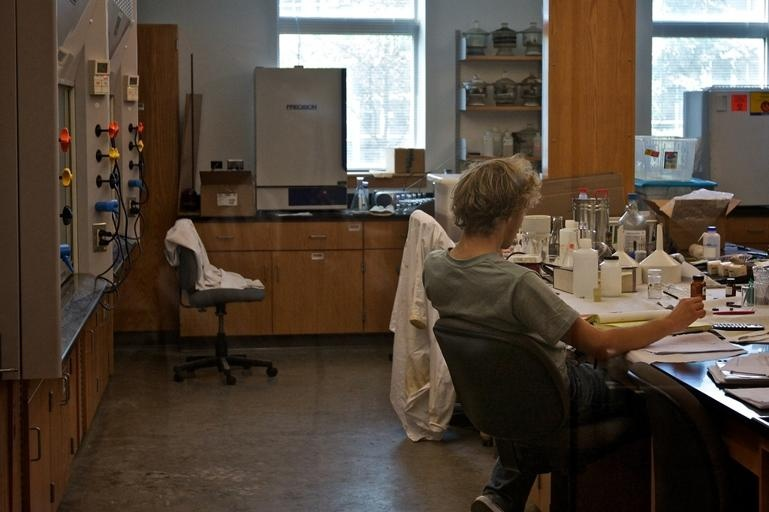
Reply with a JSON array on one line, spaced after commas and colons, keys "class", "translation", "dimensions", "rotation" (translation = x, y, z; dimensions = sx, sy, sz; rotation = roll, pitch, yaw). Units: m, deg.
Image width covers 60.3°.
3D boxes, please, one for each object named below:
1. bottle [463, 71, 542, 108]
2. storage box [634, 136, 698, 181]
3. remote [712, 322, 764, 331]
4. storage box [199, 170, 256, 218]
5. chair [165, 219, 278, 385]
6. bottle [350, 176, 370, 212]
[{"class": "bottle", "translation": [1.151, -1.588, 6.492], "dimensions": [0.650, 0.288, 0.375], "rotation": [-1, 3, -2]}, {"class": "storage box", "translation": [2.012, -0.690, 4.756], "dimensions": [0.356, 0.246, 0.375], "rotation": [0, 5, 1]}, {"class": "remote", "translation": [1.434, 0.289, 2.681], "dimensions": [0.123, 0.014, 0.074], "rotation": [0, 4, 3]}, {"class": "storage box", "translation": [-1.338, -0.533, 5.810], "dimensions": [0.404, 0.320, 0.399], "rotation": [0, 7, -3]}, {"class": "chair", "translation": [-1.290, 0.338, 5.111], "dimensions": [0.845, 1.189, 0.686], "rotation": [1, 2, -32]}, {"class": "bottle", "translation": [-0.230, -0.579, 6.207], "dimensions": [0.180, 0.280, 0.535], "rotation": [0, 11, -2]}]
